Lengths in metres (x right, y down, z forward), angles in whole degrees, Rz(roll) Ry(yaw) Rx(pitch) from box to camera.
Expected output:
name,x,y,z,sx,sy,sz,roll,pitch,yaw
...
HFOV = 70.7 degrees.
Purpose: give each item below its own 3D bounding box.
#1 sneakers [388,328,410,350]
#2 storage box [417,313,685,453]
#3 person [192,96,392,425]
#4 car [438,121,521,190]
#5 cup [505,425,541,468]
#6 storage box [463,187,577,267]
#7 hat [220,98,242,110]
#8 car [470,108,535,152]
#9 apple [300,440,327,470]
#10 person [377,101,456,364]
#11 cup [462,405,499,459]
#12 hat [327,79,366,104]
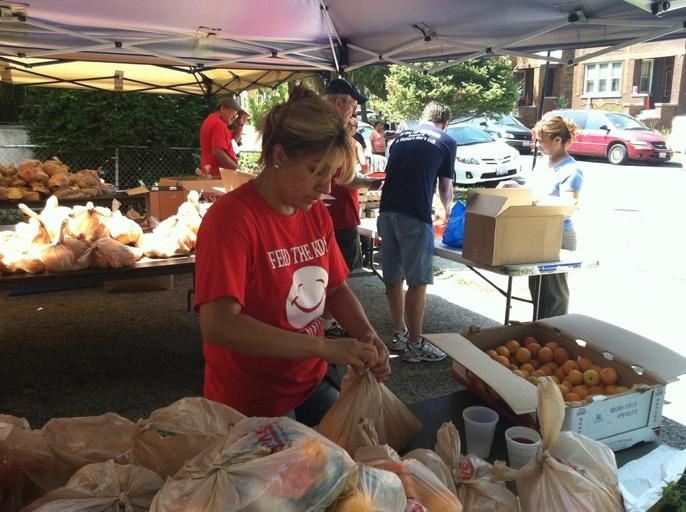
name,x,y,z,sx,sy,sz,roll,pitch,yaw
sneakers,0.530,0.778,4.570,0.102,0.114,0.265,1,11,27
storage box,1.047,0.489,2.220,0.793,0.267,0.768,-5,11,-20
person,-0.208,0.050,1.844,0.702,1.339,0.517,-4,15,-16
car,3.366,-2.857,13.595,1.765,1.348,3.240,-16,20,-19
cup,0.605,0.652,1.646,0.120,0.096,0.124,-1,11,0
storage box,1.398,-0.253,3.878,0.791,0.521,0.573,-4,13,-21
hat,-1.545,-2.063,6.577,0.243,0.119,0.173,-18,29,-34
car,6.102,-4.721,18.327,1.426,1.093,2.471,-8,27,-34
apple,-0.073,0.474,1.172,0.049,0.046,0.049,14,9,33
person,0.710,-0.267,4.510,0.861,2.274,0.772,1,6,-28
cup,0.506,0.653,1.817,0.178,0.155,0.178,4,-14,1
hat,0.017,-1.505,4.413,0.325,0.157,0.196,-4,20,-19
